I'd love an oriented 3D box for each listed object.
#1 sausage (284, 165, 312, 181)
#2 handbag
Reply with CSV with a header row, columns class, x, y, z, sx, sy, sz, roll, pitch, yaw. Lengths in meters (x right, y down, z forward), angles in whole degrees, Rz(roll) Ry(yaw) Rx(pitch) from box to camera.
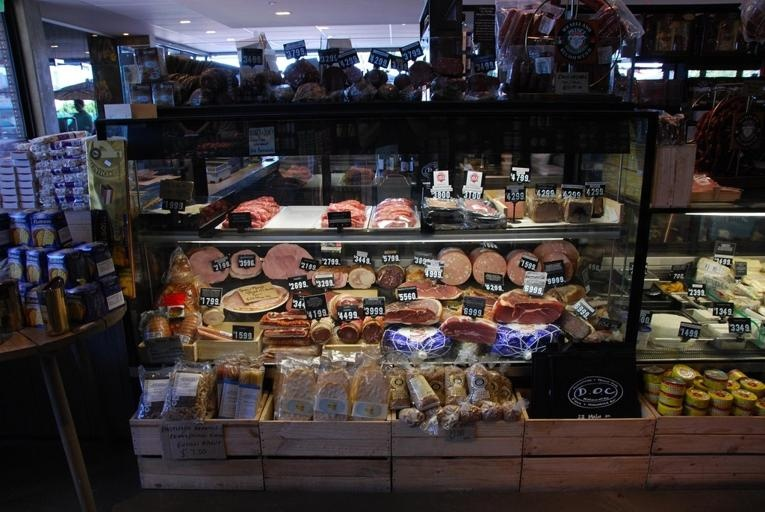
class,x,y,z,sx,sy,sz,roll,pitch,yaw
sausage,-0.656,-0.638,4.388,0.172,0.121,0.044,16,34,8
handbag,1.364,0.843,3.869,0.575,0.364,0.173,-1,-7,-1
